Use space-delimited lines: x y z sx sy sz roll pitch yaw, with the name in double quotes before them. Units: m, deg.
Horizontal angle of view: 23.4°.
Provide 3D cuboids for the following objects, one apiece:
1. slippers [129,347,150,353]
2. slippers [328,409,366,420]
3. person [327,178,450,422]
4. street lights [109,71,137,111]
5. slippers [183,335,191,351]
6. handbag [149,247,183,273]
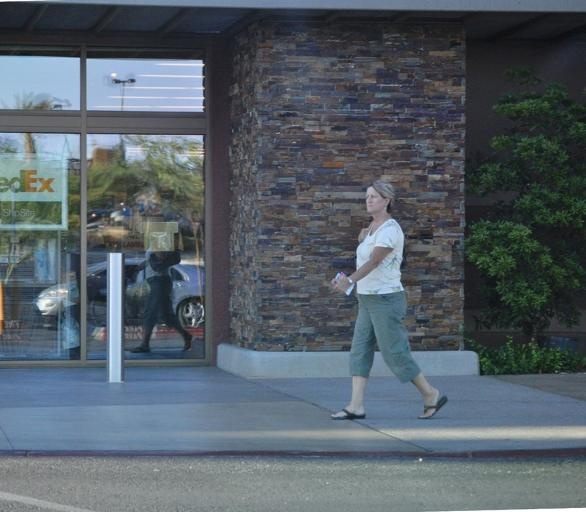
"slippers" -2.016 1.246 18.879 0.256 0.074 0.074 4 -2 -5
"slippers" 0.596 1.695 15.153 0.369 0.083 0.120 3 -6 -5
"person" 1.005 0.494 15.112 1.147 2.553 0.724 2 12 2
"street lights" -2.235 -2.203 18.865 0.333 0.483 0.077 0 12 -7
"slippers" -1.392 1.162 19.053 0.083 0.191 0.101 -3 -4 40
"handbag" -1.704 0.044 19.076 0.417 0.255 0.287 -20 2 -6
